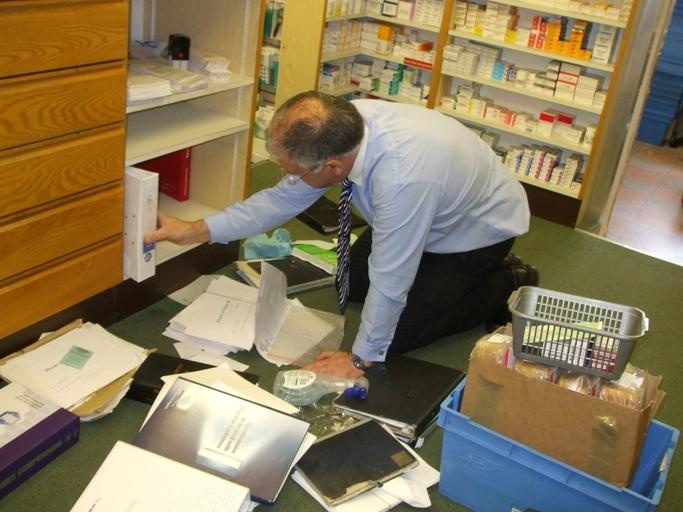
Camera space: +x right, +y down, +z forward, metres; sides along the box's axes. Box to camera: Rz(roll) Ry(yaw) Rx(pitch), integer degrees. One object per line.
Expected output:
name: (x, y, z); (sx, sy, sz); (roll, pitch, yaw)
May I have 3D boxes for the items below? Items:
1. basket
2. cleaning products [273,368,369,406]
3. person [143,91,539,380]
basket: (0.797, 0.222, 1.898); (0.416, 0.238, 0.452); (19, 29, 16)
cleaning products: (-0.102, 0.555, 2.290); (0.323, 0.082, 0.182); (0, 17, -3)
person: (0.219, -0.141, 2.525); (1.642, 1.179, 0.807); (-8, 32, -31)
